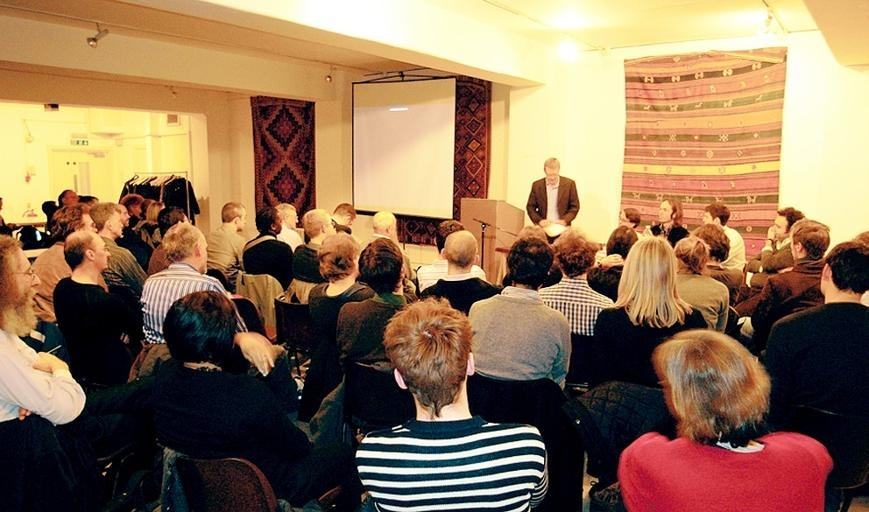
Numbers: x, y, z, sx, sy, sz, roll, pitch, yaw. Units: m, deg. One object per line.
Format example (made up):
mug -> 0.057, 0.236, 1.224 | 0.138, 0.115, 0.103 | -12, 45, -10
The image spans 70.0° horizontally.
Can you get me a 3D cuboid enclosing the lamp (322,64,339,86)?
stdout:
lamp -> -1.810, -3.205, 11.014 | 0.240, 0.255, 0.431 | 0, 6, -10
